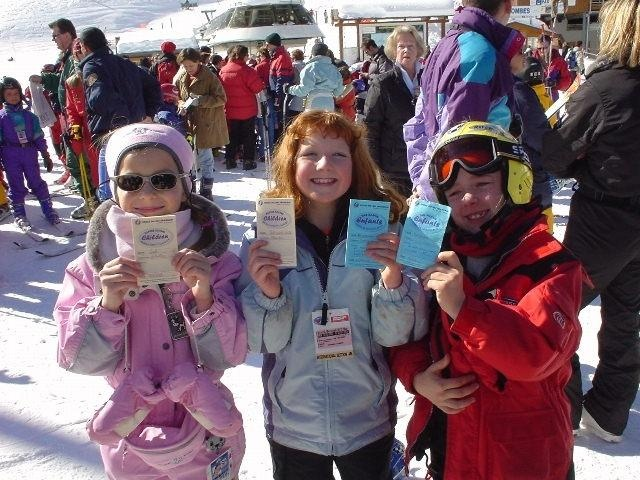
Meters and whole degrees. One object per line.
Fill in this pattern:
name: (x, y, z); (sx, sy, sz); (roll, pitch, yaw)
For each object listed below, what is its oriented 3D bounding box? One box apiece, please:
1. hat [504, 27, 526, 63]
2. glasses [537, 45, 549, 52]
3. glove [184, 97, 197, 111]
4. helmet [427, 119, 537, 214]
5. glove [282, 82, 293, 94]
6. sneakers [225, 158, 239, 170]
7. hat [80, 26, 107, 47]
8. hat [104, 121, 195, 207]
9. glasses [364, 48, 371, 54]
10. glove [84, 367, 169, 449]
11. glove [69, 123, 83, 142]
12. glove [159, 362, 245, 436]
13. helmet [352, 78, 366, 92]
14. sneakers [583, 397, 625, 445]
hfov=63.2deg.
hat: (1.195, -1.214, 3.239); (0.100, 0.193, 0.147); (16, 22, 24)
glasses: (4.421, -3.779, 10.290); (0.112, 0.065, 0.147); (2, -2, 45)
glove: (-1.736, -1.842, 6.958); (0.179, 0.139, 0.329); (-4, 19, -2)
helmet: (0.731, -0.318, 2.282); (0.336, 0.316, 0.406); (-3, 5, 45)
glove: (-0.540, -2.453, 8.371); (0.206, 0.237, 0.264); (-2, 3, -5)
sneakers: (-1.579, -1.356, 9.289); (0.222, 0.213, 0.133); (-10, 25, -10)
hat: (-2.421, -2.147, 5.554); (0.267, 0.239, 0.265); (-10, 21, -19)
hat: (-0.795, -0.361, 2.477); (0.312, 0.350, 0.389); (-4, 2, -4)
glasses: (0.955, -3.778, 10.371); (0.097, 0.118, 0.094); (3, -10, -17)
glove: (-0.822, 0.666, 2.246); (0.366, 0.238, 0.143); (-44, 46, -7)
glove: (-2.996, -1.317, 6.376); (0.129, 0.240, 0.143); (-6, 30, -11)
glove: (-0.509, 0.711, 2.266); (0.228, 0.376, 0.137); (-53, 7, -36)
helmet: (0.786, -3.017, 10.207); (0.269, 0.234, 0.688); (-1, 19, 5)
sneakers: (1.655, 1.097, 3.137); (0.108, 0.118, 0.290); (-20, 38, -22)
